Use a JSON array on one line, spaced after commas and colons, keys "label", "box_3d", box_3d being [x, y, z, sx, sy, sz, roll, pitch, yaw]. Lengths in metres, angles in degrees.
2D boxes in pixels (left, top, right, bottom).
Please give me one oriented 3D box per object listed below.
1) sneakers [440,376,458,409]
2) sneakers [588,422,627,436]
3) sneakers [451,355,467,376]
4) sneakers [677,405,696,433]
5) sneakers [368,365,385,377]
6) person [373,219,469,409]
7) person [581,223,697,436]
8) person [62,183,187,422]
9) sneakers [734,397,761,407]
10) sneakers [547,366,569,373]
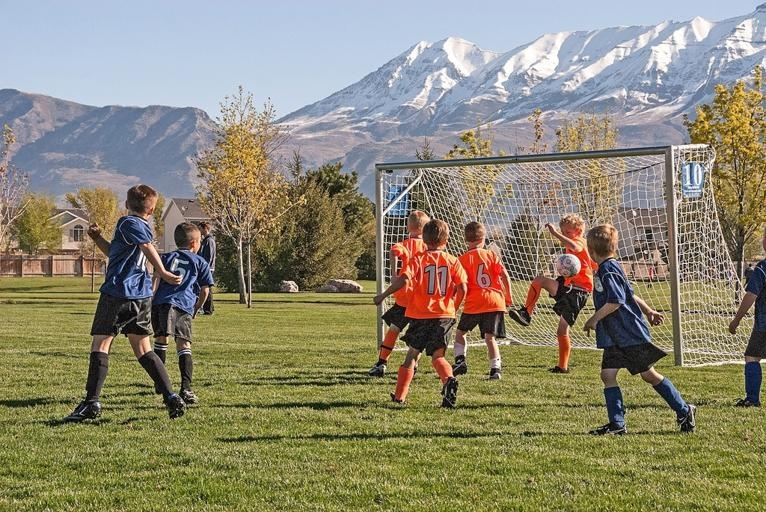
[{"label": "sneakers", "box_3d": [0.926, 1.818, 12.996, 0.177, 0.465, 0.210, 0, 9, -19]}, {"label": "sneakers", "box_3d": [2.824, 2.158, 12.052, 0.470, 0.202, 0.175, 3, -4, 3]}, {"label": "sneakers", "box_3d": [1.145, 1.615, 14.250, 0.121, 0.267, 0.355, 23, -48, -24]}, {"label": "sneakers", "box_3d": [3.850, 2.069, 12.119, 0.193, 0.431, 0.143, 5, -5, -42]}, {"label": "sneakers", "box_3d": [-0.090, 1.748, 14.796, 0.122, 0.141, 0.306, 9, -9, -29]}, {"label": "person", "box_3d": [0.586, 0.746, 13.168, 1.140, 2.498, 0.902, 1, 9, -1]}, {"label": "person", "box_3d": [3.158, 0.932, 12.042, 1.224, 2.547, 0.666, 2, 9, 10]}, {"label": "person", "box_3d": [-3.339, 0.567, 12.542, 1.332, 2.986, 1.102, -2, 9, -17]}, {"label": "sneakers", "box_3d": [4.958, 1.957, 13.064, 0.385, 0.154, 0.139, 0, 0, -16]}, {"label": "sneakers", "box_3d": [2.801, 1.771, 15.213, 0.302, 0.130, 0.111, 2, 1, 24]}]
